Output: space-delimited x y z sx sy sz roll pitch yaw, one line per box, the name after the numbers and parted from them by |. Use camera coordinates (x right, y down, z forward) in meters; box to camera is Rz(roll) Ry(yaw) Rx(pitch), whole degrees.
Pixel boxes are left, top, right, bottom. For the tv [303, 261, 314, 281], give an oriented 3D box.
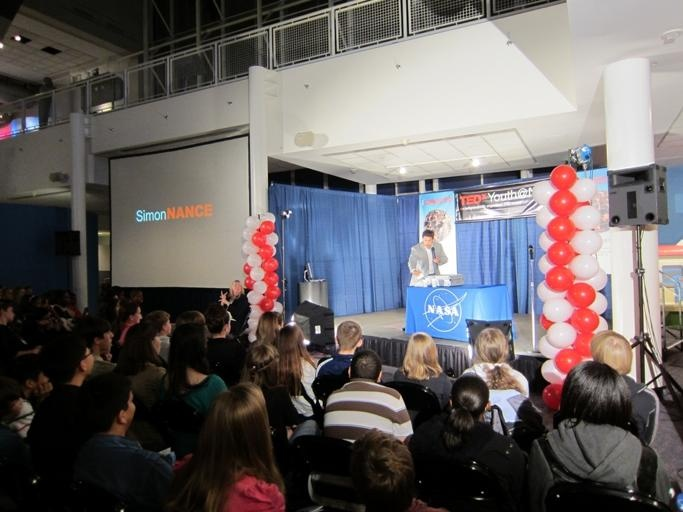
-0.704 0.327 10.650 0.302 0.389 0.379 4 -3 -17 | tv

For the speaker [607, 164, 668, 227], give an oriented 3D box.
3.398 -0.699 5.691 0.513 0.900 0.629 7 -8 -42 | speaker
